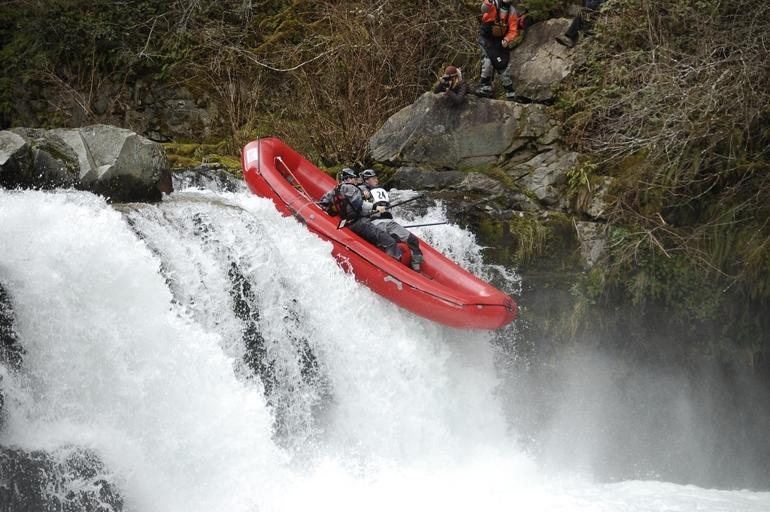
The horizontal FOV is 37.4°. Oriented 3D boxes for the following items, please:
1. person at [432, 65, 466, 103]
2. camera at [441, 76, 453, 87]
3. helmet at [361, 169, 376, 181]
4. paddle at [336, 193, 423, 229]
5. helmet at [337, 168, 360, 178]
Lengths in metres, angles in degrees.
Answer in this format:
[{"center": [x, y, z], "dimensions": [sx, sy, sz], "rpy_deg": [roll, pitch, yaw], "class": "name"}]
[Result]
[{"center": [1.199, -3.408, 22.544], "dimensions": [0.828, 0.502, 0.577], "rpy_deg": [-13, 19, -15], "class": "person"}, {"center": [1.217, -3.388, 22.309], "dimensions": [0.192, 0.159, 0.114], "rpy_deg": [0, 59, -3], "class": "camera"}, {"center": [-0.303, -1.462, 21.003], "dimensions": [0.222, 0.213, 0.204], "rpy_deg": [-19, 37, 12], "class": "helmet"}, {"center": [-0.150, -0.795, 20.744], "dimensions": [0.104, 0.284, 1.937], "rpy_deg": [2, 19, 39], "class": "paddle"}, {"center": [-0.707, -1.499, 20.852], "dimensions": [0.264, 0.095, 0.192], "rpy_deg": [16, 18, 32], "class": "helmet"}]
